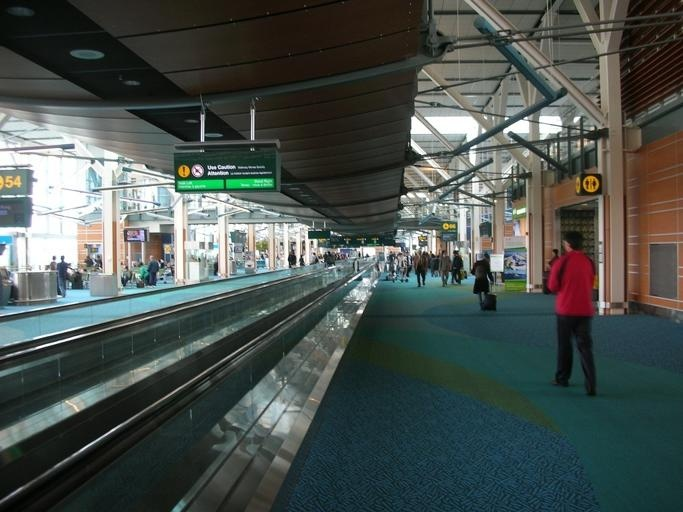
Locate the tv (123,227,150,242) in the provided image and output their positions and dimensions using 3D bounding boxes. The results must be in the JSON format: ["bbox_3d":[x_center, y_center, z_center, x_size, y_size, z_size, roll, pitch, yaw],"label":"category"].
[{"bbox_3d":[-13.785,-1.480,30.784,1.458,1.006,0.806,1,7,-11],"label":"tv"}]

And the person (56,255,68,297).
[{"bbox_3d":[-13.046,0.929,21.291,0.357,1.627,0.767,-2,0,-33],"label":"person"}]

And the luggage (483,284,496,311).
[{"bbox_3d":[4.574,1.412,14.048,0.393,0.734,0.492,-2,0,14],"label":"luggage"}]

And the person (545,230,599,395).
[{"bbox_3d":[3.157,0.749,6.264,0.564,2.332,0.520,-2,0,28],"label":"person"}]

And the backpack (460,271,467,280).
[{"bbox_3d":[7.228,1.140,27.156,0.410,0.735,0.754,1,-2,19],"label":"backpack"}]

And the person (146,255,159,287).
[{"bbox_3d":[-11.214,0.882,27.044,0.535,1.549,2.130,-2,0,-23],"label":"person"}]
